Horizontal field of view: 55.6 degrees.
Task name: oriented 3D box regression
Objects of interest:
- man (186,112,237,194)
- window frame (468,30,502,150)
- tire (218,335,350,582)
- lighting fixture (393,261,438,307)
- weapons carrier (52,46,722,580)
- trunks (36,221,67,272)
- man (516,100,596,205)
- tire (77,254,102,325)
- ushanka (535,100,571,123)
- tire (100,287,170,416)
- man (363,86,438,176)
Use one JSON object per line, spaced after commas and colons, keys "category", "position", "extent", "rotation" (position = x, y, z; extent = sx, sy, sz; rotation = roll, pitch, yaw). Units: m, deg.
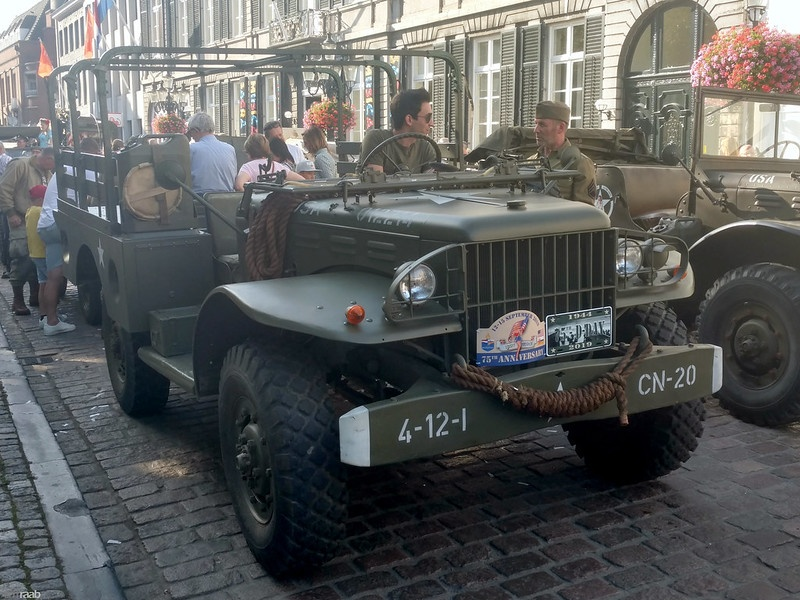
{"category": "man", "position": [-2.054, -1.482, 8.139], "extent": [0.552, 0.933, 0.863], "rotation": [0, 0, -16]}
{"category": "window frame", "position": [2.177, -5.035, 18.296], "extent": [0.972, 2.557, 0.124], "rotation": [-6, 47, 7]}
{"category": "tire", "position": [-0.609, 0.808, 3.928], "extent": [0.427, 1.109, 0.797], "rotation": [-8, 15, -28]}
{"category": "lighting fixture", "position": [0.083, -0.044, 3.757], "extent": [0.209, 0.251, 0.184], "rotation": [1, -29, 8]}
{"category": "weapons carrier", "position": [-0.779, -0.297, 5.978], "extent": [2.807, 3.221, 5.215], "rotation": [-4, 11, -38]}
{"category": "trunks", "position": [-3.779, -0.579, 8.228], "extent": [0.260, 0.511, 0.366], "rotation": [-12, 24, -30]}
{"category": "man", "position": [1.218, -1.098, 5.985], "extent": [0.453, 0.984, 0.726], "rotation": [-20, 28, -26]}
{"category": "tire", "position": [-3.154, -0.101, 7.697], "extent": [0.185, 0.601, 0.525], "rotation": [-4, 13, -35]}
{"category": "ushanka", "position": [1.197, -1.467, 5.907], "extent": [0.213, 0.132, 0.173], "rotation": [-6, 20, -25]}
{"category": "tire", "position": [-1.961, 0.385, 5.651], "extent": [0.227, 0.763, 0.681], "rotation": [-6, 21, -31]}
{"category": "man", "position": [0.028, -1.303, 5.939], "extent": [0.710, 0.770, 0.528], "rotation": [-11, 24, -41]}
